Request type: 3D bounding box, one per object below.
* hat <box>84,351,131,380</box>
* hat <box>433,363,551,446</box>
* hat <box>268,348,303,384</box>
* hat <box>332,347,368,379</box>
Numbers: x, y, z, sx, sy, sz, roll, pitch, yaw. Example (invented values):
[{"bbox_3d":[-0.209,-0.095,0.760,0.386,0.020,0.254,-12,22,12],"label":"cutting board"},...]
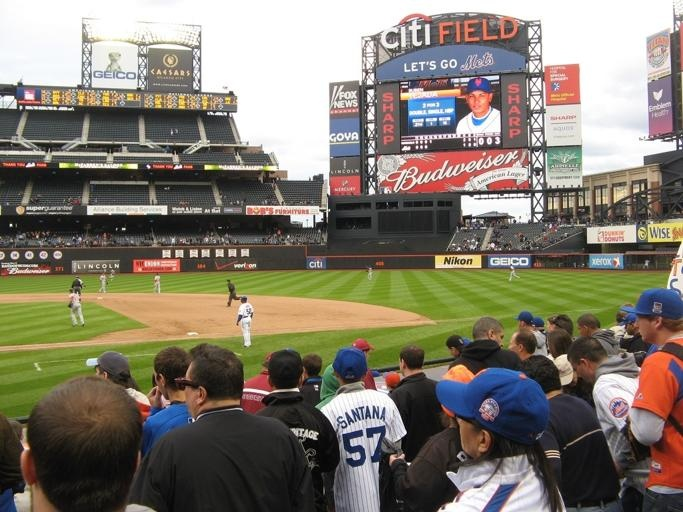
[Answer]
[{"bbox_3d":[-2.439,1.174,6.539,0.443,0.234,0.291,7,4,23],"label":"hat"},{"bbox_3d":[0.967,0.978,4.180,0.358,0.483,0.689,0,0,-41],"label":"hat"},{"bbox_3d":[-0.502,0.999,5.635,0.243,0.214,0.343,-1,36,-6],"label":"hat"},{"bbox_3d":[0.079,0.998,5.812,0.239,0.186,0.317,3,28,-1],"label":"hat"}]
